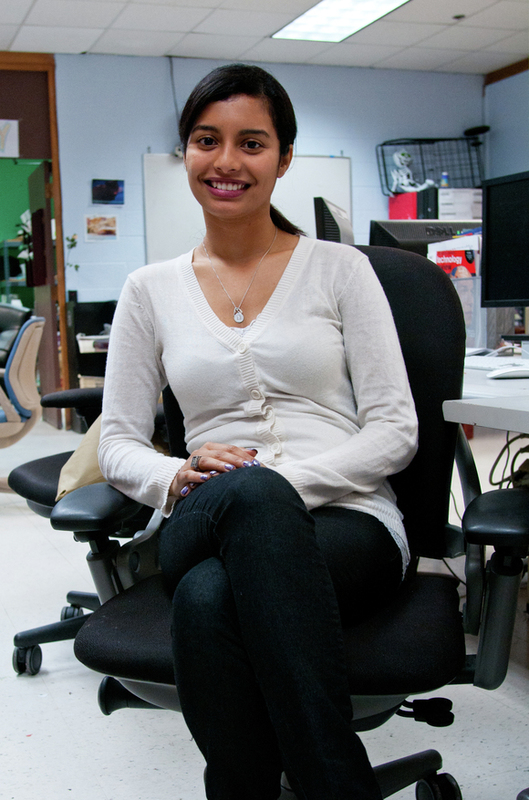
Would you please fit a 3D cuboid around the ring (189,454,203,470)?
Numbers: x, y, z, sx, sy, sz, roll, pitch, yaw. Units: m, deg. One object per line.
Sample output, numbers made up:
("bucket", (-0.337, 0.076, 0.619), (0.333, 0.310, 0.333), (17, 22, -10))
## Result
("ring", (-0.090, 0.080, 0.852), (0.015, 0.019, 0.008), (-1, -4, 27))
